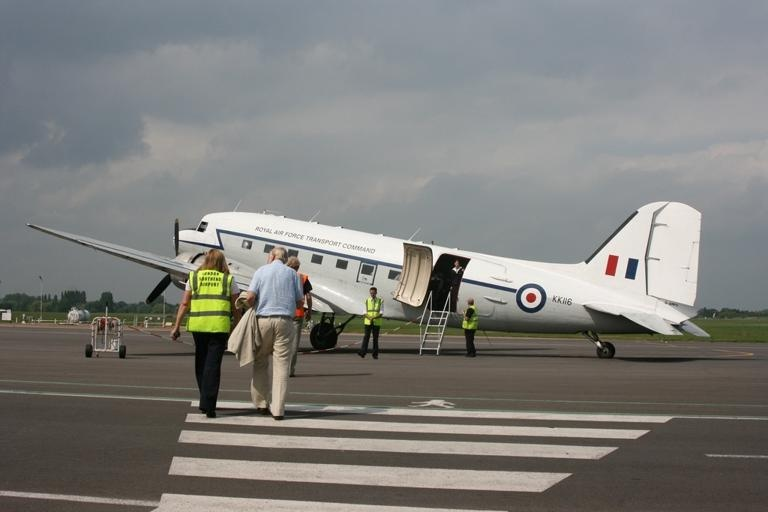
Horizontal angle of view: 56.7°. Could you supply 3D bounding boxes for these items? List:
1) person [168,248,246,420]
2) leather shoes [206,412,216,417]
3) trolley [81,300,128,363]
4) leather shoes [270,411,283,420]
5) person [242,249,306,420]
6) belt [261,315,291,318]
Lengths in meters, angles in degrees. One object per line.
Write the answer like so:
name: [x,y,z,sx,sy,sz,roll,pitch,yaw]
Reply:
person: [-3.296,1.401,13.213,1.127,3.107,0.942,4,-3,-17]
leather shoes: [-3.140,2.910,13.023,0.148,0.126,0.101,2,-4,-16]
trolley: [-9.300,2.652,24.030,1.439,1.450,1.140,3,2,-11]
leather shoes: [-1.939,2.939,13.023,0.231,0.116,0.255,3,-2,-2]
person: [-2.070,1.553,13.207,0.891,2.880,0.599,3,-3,5]
belt: [-1.988,1.121,13.127,0.546,0.061,0.087,3,-2,-12]
